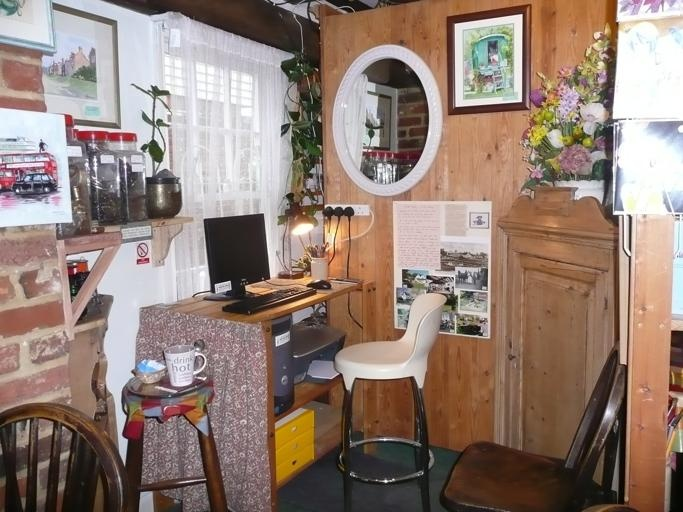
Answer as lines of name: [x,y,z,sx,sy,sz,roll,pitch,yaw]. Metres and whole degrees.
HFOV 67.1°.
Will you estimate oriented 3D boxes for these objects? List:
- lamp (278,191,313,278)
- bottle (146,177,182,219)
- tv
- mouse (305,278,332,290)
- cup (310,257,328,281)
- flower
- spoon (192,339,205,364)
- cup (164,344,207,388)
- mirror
lamp: [-0.313,-0.125,3.604,0.256,0.583,0.685,-2,11,-4]
bottle: [-0.926,-0.294,2.695,0.178,0.207,0.181,0,1,-42]
tv: [-0.600,0.014,2.889,0.067,0.401,0.441,-1,7,34]
mouse: [-0.123,0.167,3.078,0.098,0.035,0.066,5,6,21]
cup: [-0.126,0.097,3.283,0.118,0.148,0.124,0,0,0]
flower: [1.109,-0.672,2.582,0.307,0.786,0.543,-3,11,-14]
spoon: [-0.660,0.432,2.380,0.085,0.092,0.057,3,-1,-29]
cup: [-0.663,0.481,2.272,0.130,0.155,0.198,-1,-1,44]
mirror: [0.314,-0.855,3.182,0.884,1.118,0.053,2,4,30]
